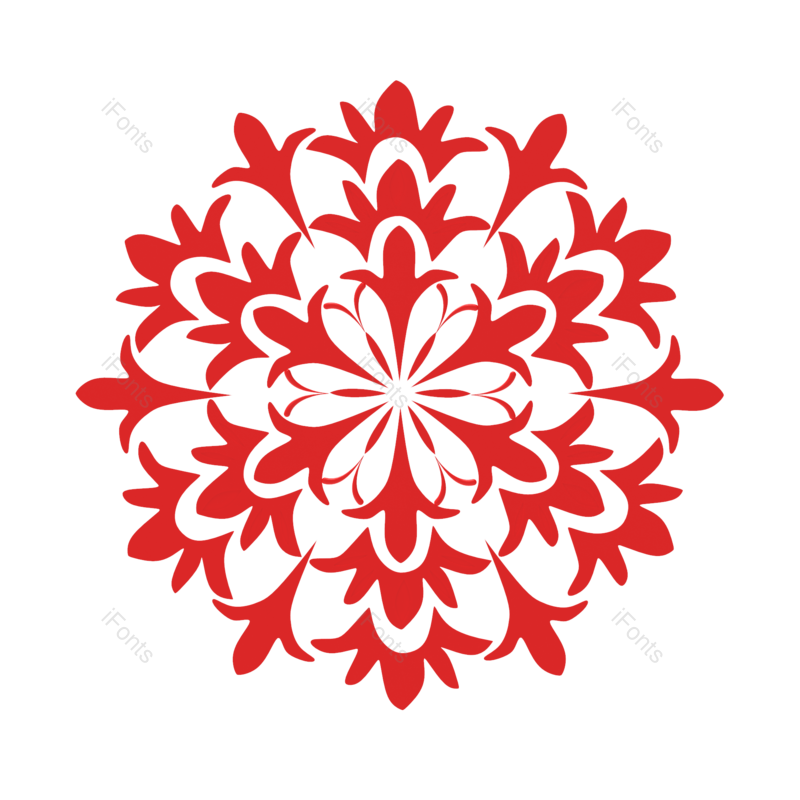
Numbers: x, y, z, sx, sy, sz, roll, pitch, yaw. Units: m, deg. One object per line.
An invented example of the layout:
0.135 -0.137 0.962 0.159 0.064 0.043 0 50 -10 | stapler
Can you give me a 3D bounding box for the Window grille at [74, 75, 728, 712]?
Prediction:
0.026 -0.037 3.017 1.402 0.068 1.728 0 95 1 | Window grille
